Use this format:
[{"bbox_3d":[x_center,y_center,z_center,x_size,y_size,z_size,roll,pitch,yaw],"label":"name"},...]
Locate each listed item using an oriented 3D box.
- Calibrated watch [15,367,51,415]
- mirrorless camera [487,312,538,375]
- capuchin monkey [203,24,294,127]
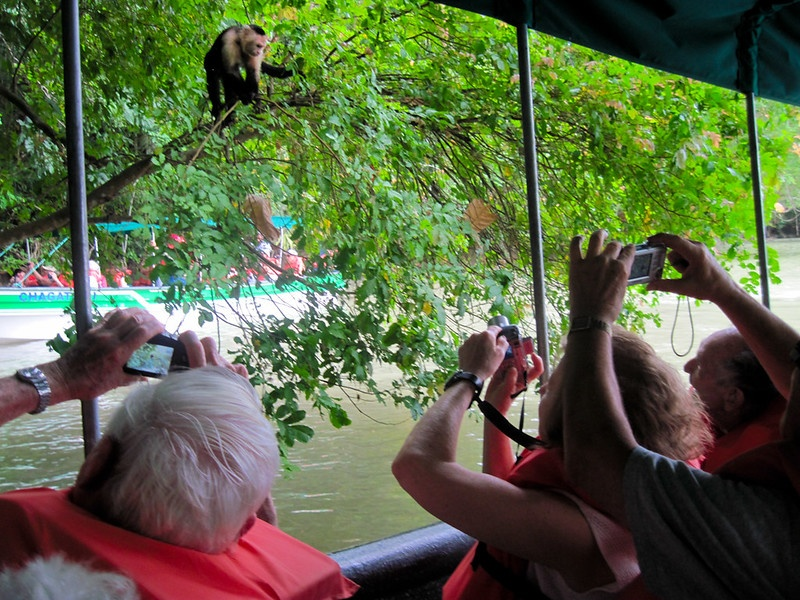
[{"bbox_3d":[-0.859,0.196,1.471,0.048,0.070,0.074,-27,-20,-37],"label":"Calibrated watch"},{"bbox_3d":[0.343,0.104,1.751,0.082,0.173,0.126,-38,-14,-20],"label":"mirrorless camera"},{"bbox_3d":[-0.832,-1.151,3.088,0.320,0.458,0.230,2,4,3],"label":"capuchin monkey"}]
